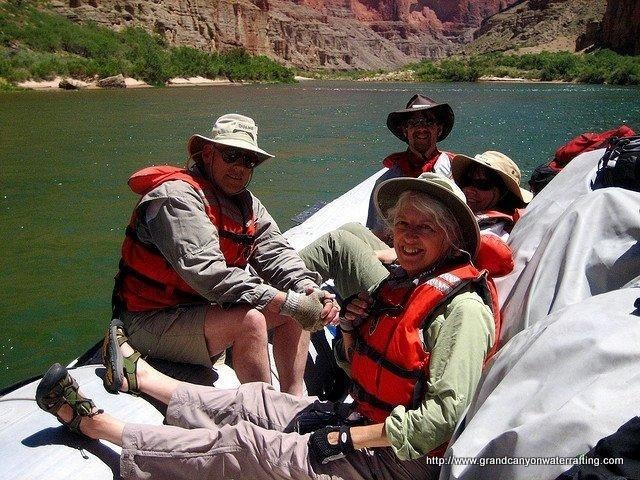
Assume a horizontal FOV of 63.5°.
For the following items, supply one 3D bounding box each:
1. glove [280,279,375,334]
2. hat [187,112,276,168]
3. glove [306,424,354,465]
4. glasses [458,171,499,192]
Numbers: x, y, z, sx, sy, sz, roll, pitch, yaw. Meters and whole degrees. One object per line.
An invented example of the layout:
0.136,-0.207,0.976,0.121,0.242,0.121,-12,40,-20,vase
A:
-0.026,0.316,2.577,0.259,0.121,0.218,13,51,-36,glove
-0.517,-0.594,2.926,0.324,0.179,0.349,17,-25,-21,hat
0.036,0.754,1.914,0.174,0.114,0.076,-11,-25,9,glove
1.020,-0.373,3.298,0.206,0.075,0.214,9,-14,31,glasses
